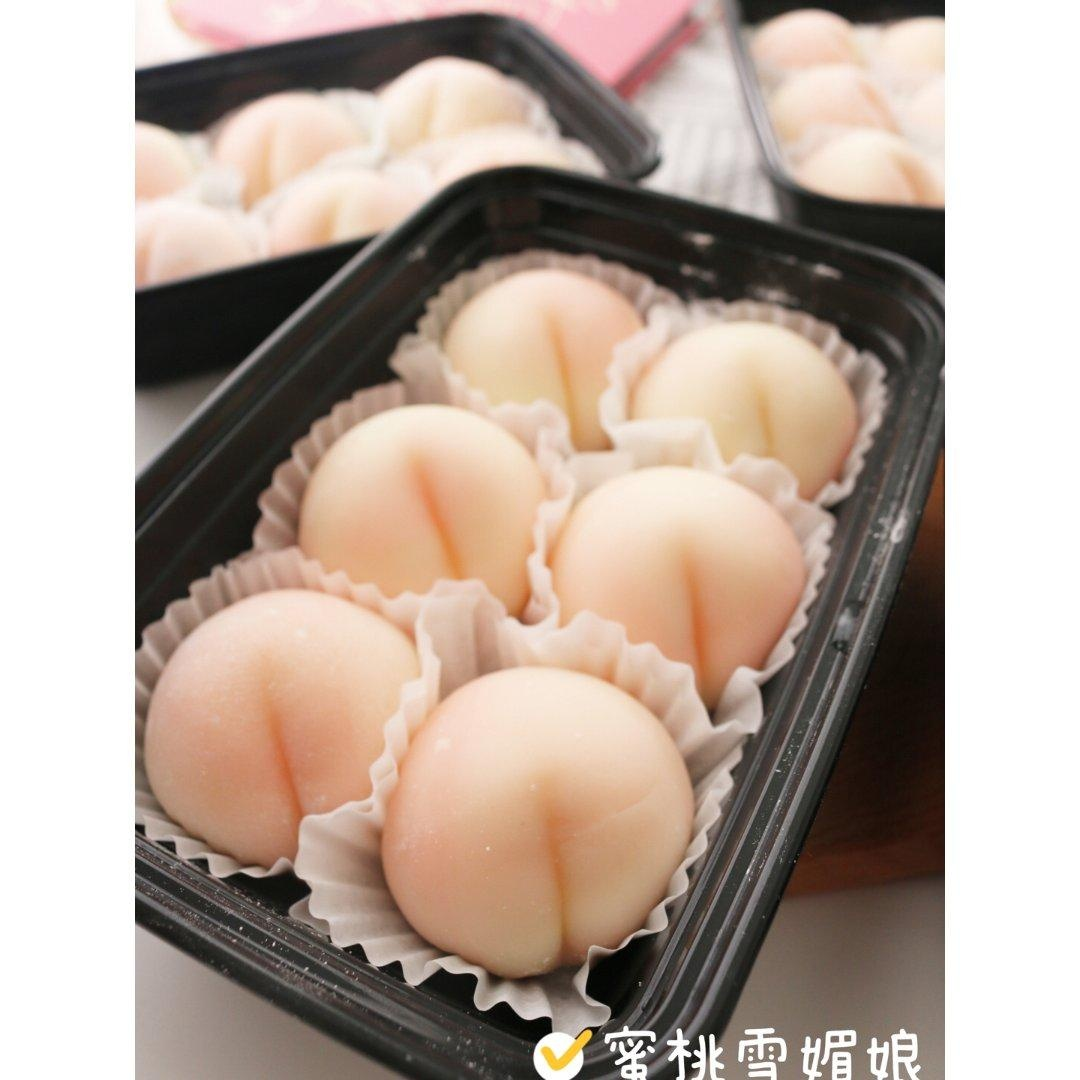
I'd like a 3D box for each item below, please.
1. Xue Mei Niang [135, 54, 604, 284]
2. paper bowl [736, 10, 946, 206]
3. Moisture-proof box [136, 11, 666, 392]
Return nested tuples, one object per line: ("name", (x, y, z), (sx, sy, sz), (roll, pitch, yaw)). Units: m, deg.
("Xue Mei Niang", (-0.121, -0.283, 1.001), (0.312, 0.083, 0.149), (-15, 55, -12))
("paper bowl", (0.249, -0.323, 1.036), (0.206, 0.055, 0.147), (0, 86, -7))
("Moisture-proof box", (-0.139, -0.252, 1.055), (0.427, 0.115, 0.236), (-24, 68, -12))
